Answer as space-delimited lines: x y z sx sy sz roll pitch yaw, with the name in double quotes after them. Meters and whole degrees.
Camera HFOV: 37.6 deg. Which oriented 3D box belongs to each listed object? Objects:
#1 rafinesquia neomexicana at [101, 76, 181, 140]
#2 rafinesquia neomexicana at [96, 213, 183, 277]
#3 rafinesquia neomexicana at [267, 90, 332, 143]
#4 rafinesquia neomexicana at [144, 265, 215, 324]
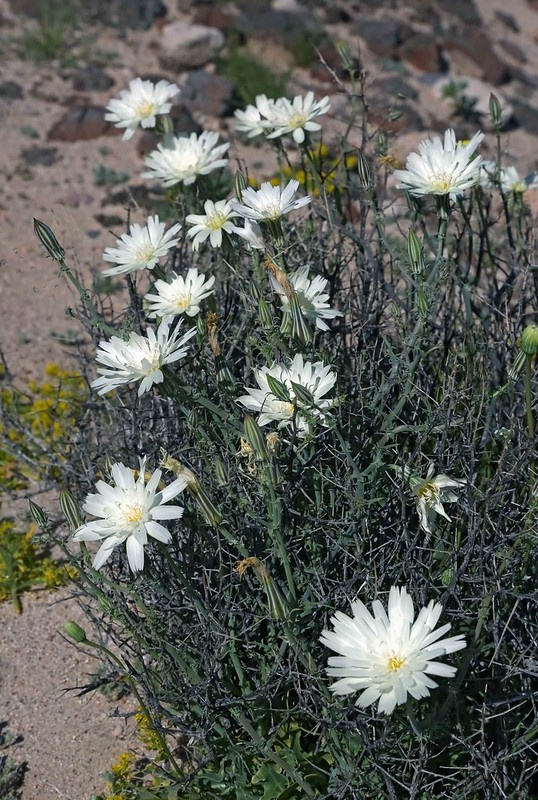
-0.368 -0.837 2.258 0.169 0.133 0.198 -31 50 -29 "rafinesquia neomexicana"
-0.321 -0.403 1.964 0.192 0.079 0.195 -29 53 17 "rafinesquia neomexicana"
0.084 -0.830 2.310 0.172 0.163 0.328 -1 42 0 "rafinesquia neomexicana"
-0.212 -0.248 1.804 0.121 0.095 0.141 -23 47 -23 "rafinesquia neomexicana"
